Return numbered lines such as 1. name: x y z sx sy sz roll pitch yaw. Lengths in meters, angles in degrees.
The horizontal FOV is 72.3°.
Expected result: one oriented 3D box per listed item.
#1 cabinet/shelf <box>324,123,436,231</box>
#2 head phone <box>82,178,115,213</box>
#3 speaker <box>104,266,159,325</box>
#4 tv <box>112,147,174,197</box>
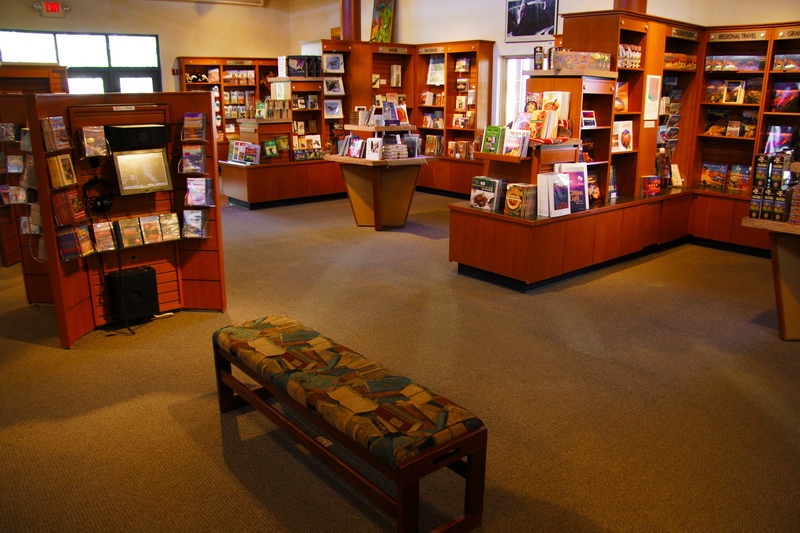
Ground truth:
1. cabinet/shelf: -0.112 -1.522 9.350 1.713 2.020 1.696 -15 24 -42
2. head phone: -2.962 -0.688 5.403 0.288 0.326 0.130 -13 3 -29
3. speaker: -2.764 0.278 5.624 0.306 0.591 0.530 8 14 41
4. tv: -2.563 -0.948 5.431 0.459 0.384 0.049 -15 6 -32
